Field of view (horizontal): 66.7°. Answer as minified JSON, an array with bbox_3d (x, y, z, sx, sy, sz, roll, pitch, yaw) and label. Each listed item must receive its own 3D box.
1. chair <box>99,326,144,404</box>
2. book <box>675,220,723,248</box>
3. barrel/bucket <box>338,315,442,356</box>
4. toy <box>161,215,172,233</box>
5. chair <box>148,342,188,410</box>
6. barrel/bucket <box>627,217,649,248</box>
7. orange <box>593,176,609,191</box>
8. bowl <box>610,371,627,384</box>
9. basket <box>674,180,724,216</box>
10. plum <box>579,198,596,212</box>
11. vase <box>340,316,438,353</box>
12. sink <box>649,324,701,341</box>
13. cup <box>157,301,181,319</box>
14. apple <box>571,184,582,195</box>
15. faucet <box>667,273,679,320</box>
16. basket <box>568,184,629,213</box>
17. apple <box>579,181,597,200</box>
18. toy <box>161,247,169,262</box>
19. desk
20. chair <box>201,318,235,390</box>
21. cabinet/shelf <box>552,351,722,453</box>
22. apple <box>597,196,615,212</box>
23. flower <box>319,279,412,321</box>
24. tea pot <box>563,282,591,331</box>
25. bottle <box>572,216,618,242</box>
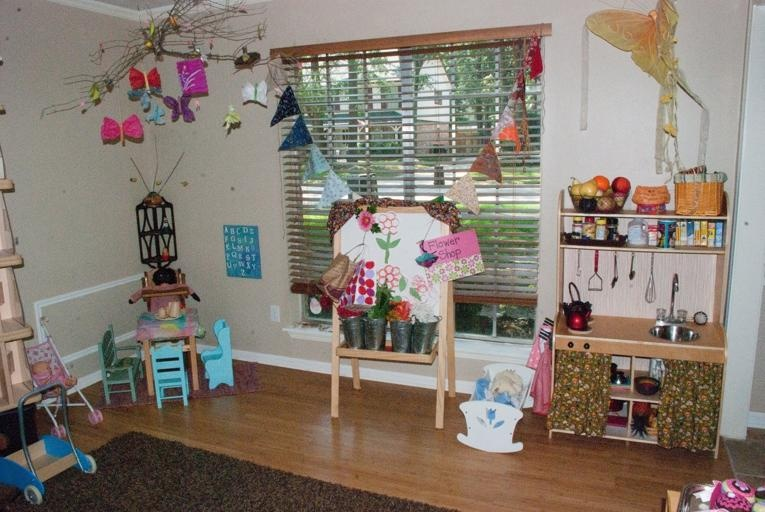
[{"bbox_3d":[-2.329,0.978,5.112,0.231,0.427,0.541,-2,17,-13],"label":"chair"},{"bbox_3d":[2.306,-0.162,4.224,0.322,0.188,0.044,1,9,11],"label":"book"},{"bbox_3d":[0.073,0.610,4.554,0.473,0.174,0.396,0,-1,18],"label":"barrel/bucket"},{"bbox_3d":[-2.109,-0.303,5.591,0.120,0.188,0.249,-4,9,-21],"label":"toy"},{"bbox_3d":[-1.838,1.000,4.980,0.300,0.518,0.353,-3,9,-16],"label":"chair"},{"bbox_3d":[1.902,-0.167,4.329,0.206,0.213,0.151,2,5,23],"label":"barrel/bucket"},{"bbox_3d":[1.625,-0.536,4.327,0.106,0.107,0.104,5,41,19],"label":"orange"},{"bbox_3d":[1.770,0.917,4.365,0.102,0.040,0.102,0,7,0],"label":"bowl"},{"bbox_3d":[2.246,-0.392,4.152,0.389,0.299,0.226,0,4,18],"label":"basket"},{"bbox_3d":[1.523,-0.369,4.321,0.102,0.095,0.102,0,1,3],"label":"plum"},{"bbox_3d":[0.050,0.614,4.562,0.467,0.172,0.389,0,-1,16],"label":"vase"},{"bbox_3d":[2.153,0.576,4.292,0.318,0.115,0.169,3,9,24],"label":"sink"},{"bbox_3d":[-1.917,0.477,5.147,0.206,0.153,0.127,4,3,5],"label":"cup"},{"bbox_3d":[1.455,-0.495,4.364,0.071,0.047,0.084,2,6,-22],"label":"apple"},{"bbox_3d":[2.194,0.310,4.369,0.068,0.347,0.207,4,10,26],"label":"faucet"},{"bbox_3d":[1.616,-0.445,4.320,0.268,0.152,0.294,1,0,36],"label":"basket"},{"bbox_3d":[1.535,-0.496,4.325,0.129,0.126,0.075,1,9,7],"label":"apple"},{"bbox_3d":[-2.081,-0.013,5.503,0.072,0.135,0.041,-1,0,-40],"label":"toy"},{"bbox_3d":[-1.813,0.826,5.293,0.652,0.729,0.662,-3,2,-11],"label":"desk"},{"bbox_3d":[-1.465,0.865,5.108,0.261,0.601,0.222,-2,9,-13],"label":"chair"},{"bbox_3d":[1.868,0.994,4.335,1.144,0.712,0.420,2,0,21],"label":"cabinet/shelf"},{"bbox_3d":[1.650,-0.373,4.287,0.113,0.112,0.055,1,1,19],"label":"apple"},{"bbox_3d":[-0.095,0.411,4.523,0.513,0.204,0.328,-13,28,16],"label":"flower"},{"bbox_3d":[1.493,0.376,4.463,0.210,0.314,0.442,3,9,20],"label":"tea pot"},{"bbox_3d":[1.587,-0.192,4.358,0.274,0.183,0.202,3,9,24],"label":"bottle"}]
